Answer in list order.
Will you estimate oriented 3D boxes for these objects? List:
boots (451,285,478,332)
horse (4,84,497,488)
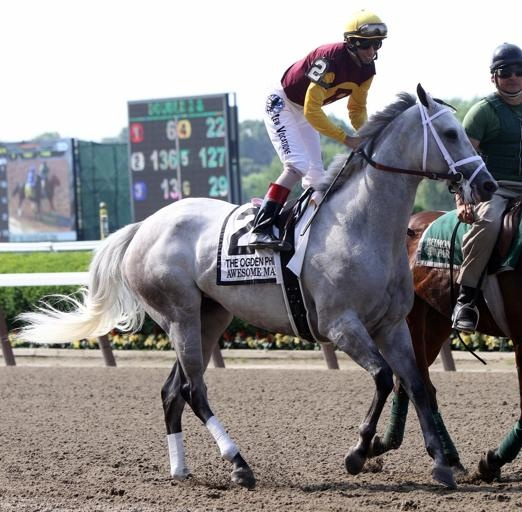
[{"bbox_3d":[1.161,0.279,5.329,0.107,0.236,0.336,10,4,3],"label":"boots"},{"bbox_3d":[-0.101,0.192,5.359,2.978,2.050,0.748,-2,-4,31],"label":"horse"}]
